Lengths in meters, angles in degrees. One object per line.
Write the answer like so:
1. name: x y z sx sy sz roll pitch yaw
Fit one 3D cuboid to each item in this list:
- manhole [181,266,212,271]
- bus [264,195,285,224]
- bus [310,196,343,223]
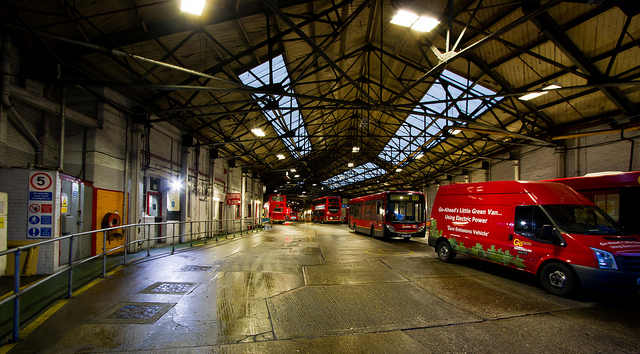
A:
1. manhole: -6.076 4.506 19.327 1.175 0.057 0.663 1 1 1
2. bus: -6.401 4.517 56.532 2.624 3.426 2.441 1 3 -5
3. bus: 1.328 5.028 59.315 3.621 4.836 12.625 0 2 -11
